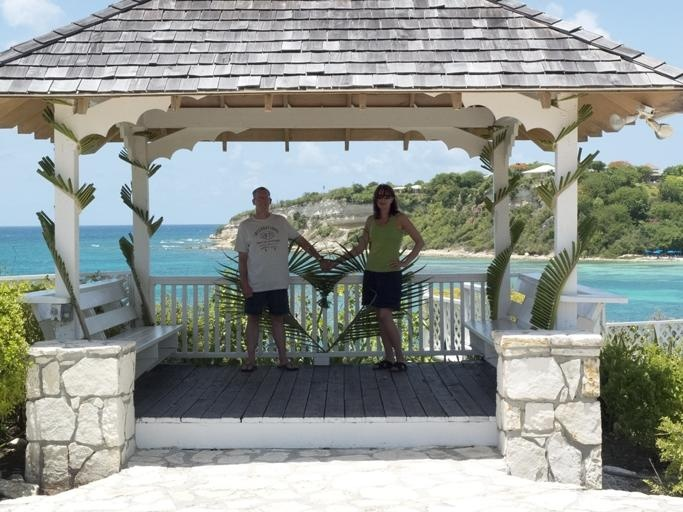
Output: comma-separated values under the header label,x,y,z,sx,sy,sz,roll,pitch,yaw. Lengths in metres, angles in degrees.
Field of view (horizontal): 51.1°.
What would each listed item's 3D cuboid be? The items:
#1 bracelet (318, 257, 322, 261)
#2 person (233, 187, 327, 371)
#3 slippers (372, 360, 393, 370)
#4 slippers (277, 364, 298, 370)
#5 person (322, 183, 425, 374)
label,x,y,z,sx,sy,sz,roll,pitch,yaw
bracelet,-0.246,0.027,8.195,0.036,0.010,0.038,11,-38,-23
person,-0.785,0.259,8.100,0.805,2.069,0.423,-3,13,-10
slippers,0.470,1.249,8.198,0.231,0.101,0.090,3,-6,0
slippers,-0.619,1.279,8.197,0.200,0.058,0.085,1,3,17
person,0.450,0.254,7.989,0.937,2.118,0.405,7,15,32
